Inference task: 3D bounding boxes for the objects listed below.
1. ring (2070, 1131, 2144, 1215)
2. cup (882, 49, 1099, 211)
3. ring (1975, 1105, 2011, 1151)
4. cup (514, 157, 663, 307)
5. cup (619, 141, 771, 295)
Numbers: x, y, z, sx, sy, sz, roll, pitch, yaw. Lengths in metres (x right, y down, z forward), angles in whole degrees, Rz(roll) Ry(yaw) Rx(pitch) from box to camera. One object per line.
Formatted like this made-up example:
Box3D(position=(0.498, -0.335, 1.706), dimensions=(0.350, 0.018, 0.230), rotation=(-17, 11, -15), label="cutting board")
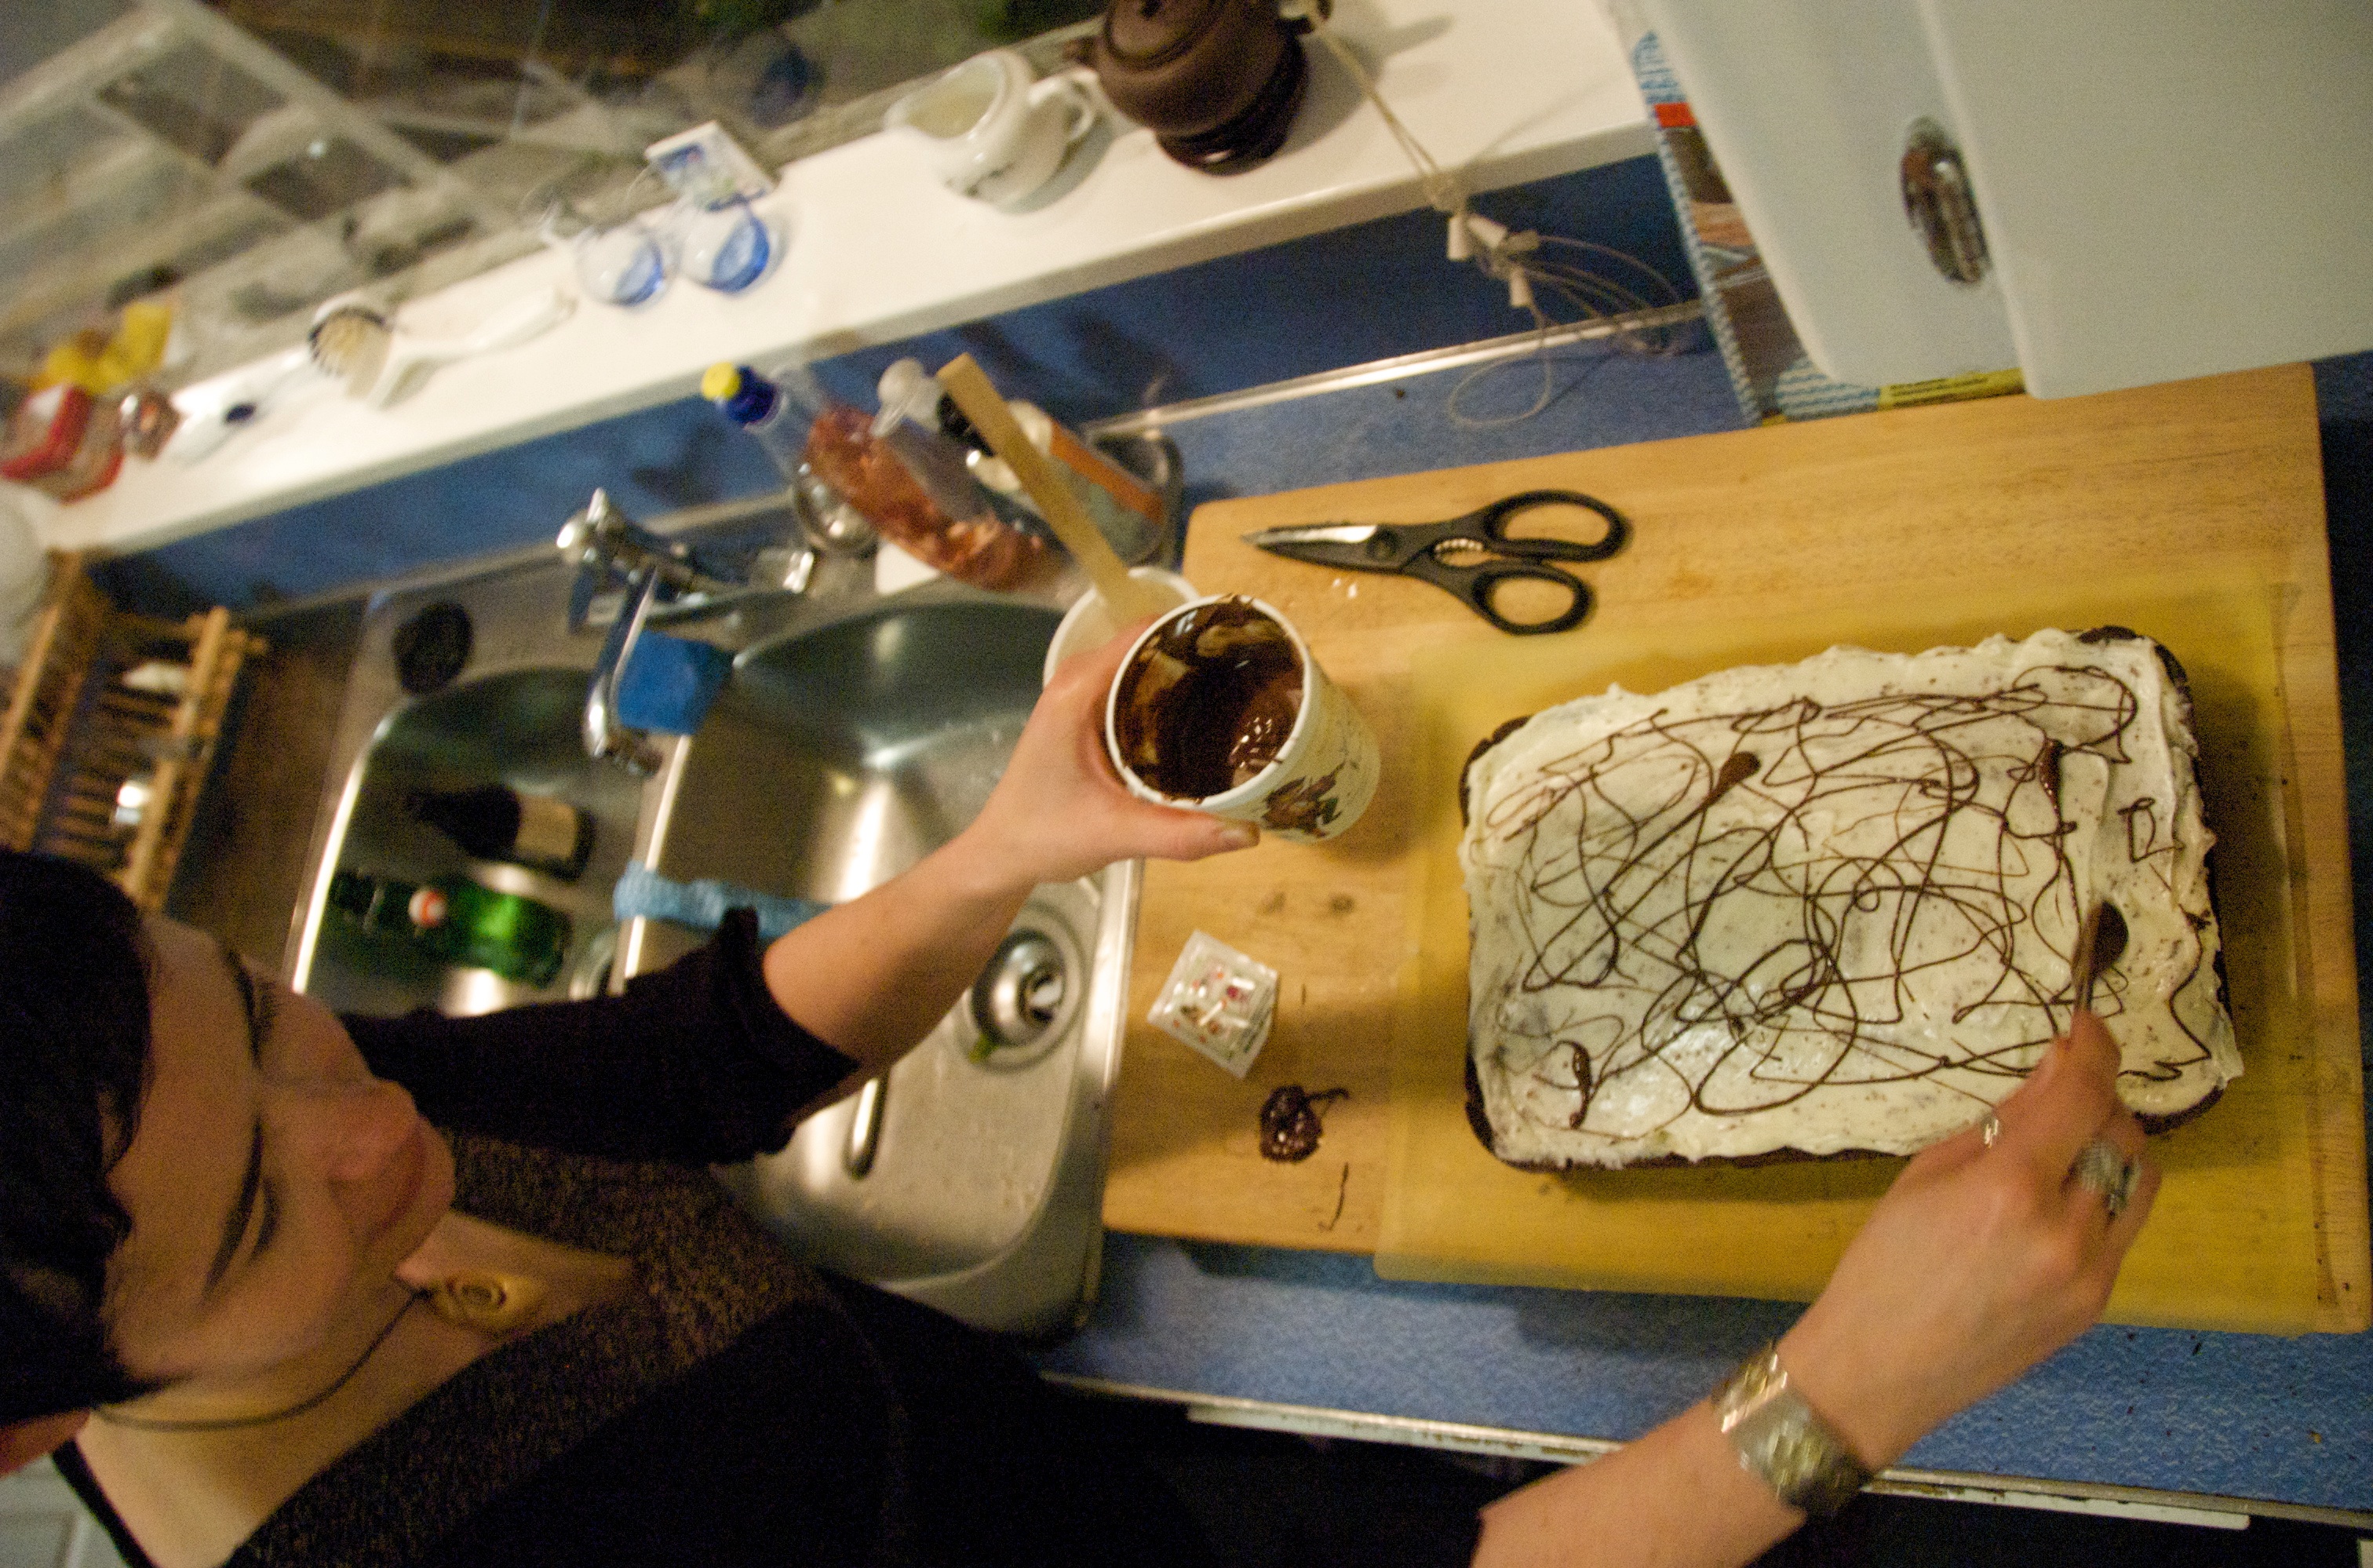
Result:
Box3D(position=(0.696, 0.290, 1.216), dimensions=(0.052, 0.013, 0.048), rotation=(1, 85, -6), label="ring")
Box3D(position=(-0.180, -0.596, 1.702), dimensions=(0.176, 0.111, 0.112), rotation=(-7, 65, -5), label="cup")
Box3D(position=(0.623, 0.265, 1.247), dimensions=(0.010, 0.019, 0.024), rotation=(0, 107, -4), label="ring")
Box3D(position=(-0.712, -0.560, 1.936), dimensions=(0.172, 0.163, 0.099), rotation=(15, 82, 19), label="cup")
Box3D(position=(-0.568, -0.552, 1.855), dimensions=(0.134, 0.185, 0.176), rotation=(-3, 114, -1), label="cup")
